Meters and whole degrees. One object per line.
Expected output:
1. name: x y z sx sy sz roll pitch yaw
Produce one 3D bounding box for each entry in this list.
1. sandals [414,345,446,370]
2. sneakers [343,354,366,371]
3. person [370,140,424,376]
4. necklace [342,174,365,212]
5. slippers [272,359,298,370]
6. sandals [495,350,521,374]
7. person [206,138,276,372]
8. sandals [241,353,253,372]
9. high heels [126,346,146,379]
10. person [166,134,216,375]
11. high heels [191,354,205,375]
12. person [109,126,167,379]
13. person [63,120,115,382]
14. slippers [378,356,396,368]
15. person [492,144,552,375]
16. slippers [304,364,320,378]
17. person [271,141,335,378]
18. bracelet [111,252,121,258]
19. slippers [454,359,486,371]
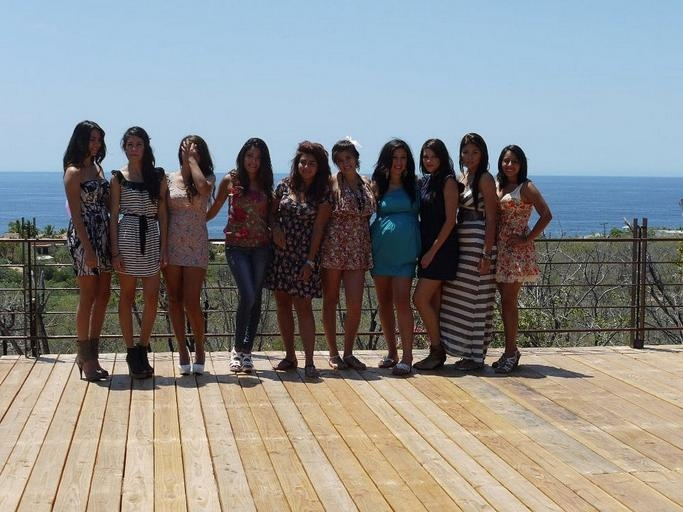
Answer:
1. sandals: 0.856 0.963 6.035 0.374 0.303 0.152 0 2 -17
2. sneakers: 0.123 1.003 5.966 0.216 0.103 0.106 6 4 40
3. person: 0.493 0.014 5.828 0.449 2.127 0.319 1 8 4
4. necklace: 0.115 -0.575 5.780 0.073 0.317 0.176 -21 -15 38
5. slippers: -0.525 1.021 5.964 0.178 0.080 0.094 7 -8 -32
6. sandals: 1.579 1.027 6.041 0.117 0.152 0.349 -3 -8 31
7. person: -0.874 0.017 5.669 0.544 2.090 0.525 -1 8 -8
8. sandals: -0.861 0.967 5.752 0.119 0.188 0.382 1 -5 -11
9. high heels: -1.739 0.932 5.513 0.114 0.256 0.320 -2 0 -34
10. person: -1.345 0.006 5.639 0.458 2.107 0.526 -1 8 -13
11. high heels: -1.293 0.977 5.736 0.065 0.099 0.220 -1 21 -5
12. person: -1.737 -0.009 5.484 0.485 2.155 0.379 -2 8 -17
13. person: -2.165 -0.035 5.462 0.363 2.196 0.397 -3 9 -25
14. slippers: 0.431 1.015 6.035 0.075 0.070 0.175 -3 -7 33
15. person: 1.666 0.040 5.914 0.473 2.089 0.495 3 8 14
16. slippers: -0.261 1.031 5.715 0.127 0.089 0.161 0 8 -6
17. person: -0.372 0.026 5.787 0.548 2.086 0.423 4 9 23
18. bracelet: -1.913 -0.011 5.393 0.078 0.050 0.032 3 8 16
19. slippers: 1.210 1.027 5.974 0.216 0.098 0.119 4 1 -6
